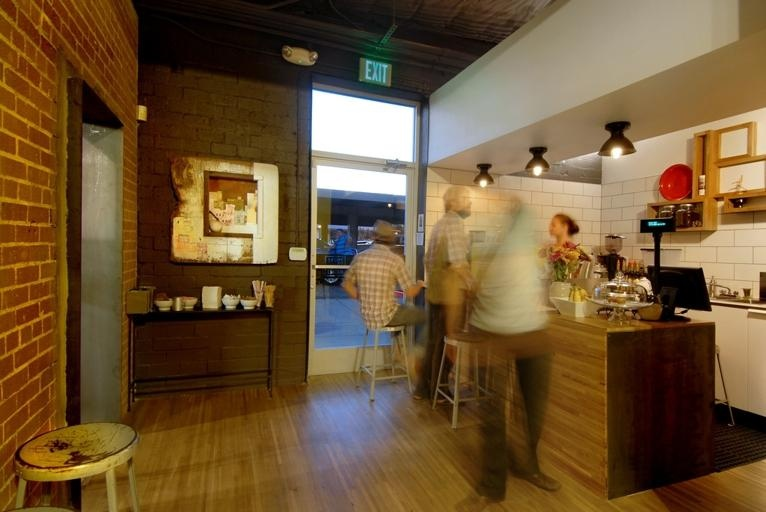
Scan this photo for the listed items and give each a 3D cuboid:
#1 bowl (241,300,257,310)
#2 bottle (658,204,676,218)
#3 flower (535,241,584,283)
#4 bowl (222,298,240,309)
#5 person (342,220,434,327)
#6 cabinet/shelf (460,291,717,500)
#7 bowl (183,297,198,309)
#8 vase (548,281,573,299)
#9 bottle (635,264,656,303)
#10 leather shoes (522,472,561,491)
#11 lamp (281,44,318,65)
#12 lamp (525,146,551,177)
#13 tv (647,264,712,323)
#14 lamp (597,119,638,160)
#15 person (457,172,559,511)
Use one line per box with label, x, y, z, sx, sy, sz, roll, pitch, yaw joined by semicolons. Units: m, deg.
bowl;-1.361;0.486;5.759;0.110;0.069;0.108;-1;1;0
bottle;3.438;-0.545;6.818;0.252;0.146;0.140;5;-6;40
flower;1.626;0.055;4.972;0.448;0.384;0.464;4;10;20
bowl;-1.546;0.475;5.743;0.169;0.130;0.191;-1;5;-21
person;0.012;0.194;5.899;0.798;1.030;0.610;3;10;22
cabinet/shelf;1.761;0.940;5.257;1.437;1.689;1.849;2;-1;-17
bowl;-1.940;0.472;5.653;0.115;0.056;0.115;0;2;0
vase;1.520;0.292;4.816;0.146;0.139;0.145;1;-1;-8
bottle;2.384;0.256;5.128;0.196;0.276;0.099;5;-11;14
leather shoes;1.292;1.814;4.548;0.203;0.080;0.114;-1;6;15
lamp;-0.872;-2.116;5.980;0.406;0.204;0.340;0;4;-12
lamp;1.627;-1.007;6.050;0.276;0.285;0.294;2;2;38
tv;2.517;0.306;4.896;0.245;0.440;0.484;-7;8;-35
lamp;2.176;-1.073;5.252;0.329;0.308;0.334;-2;5;-16
person;1.018;0.735;4.404;0.633;2.368;0.823;4;5;33
